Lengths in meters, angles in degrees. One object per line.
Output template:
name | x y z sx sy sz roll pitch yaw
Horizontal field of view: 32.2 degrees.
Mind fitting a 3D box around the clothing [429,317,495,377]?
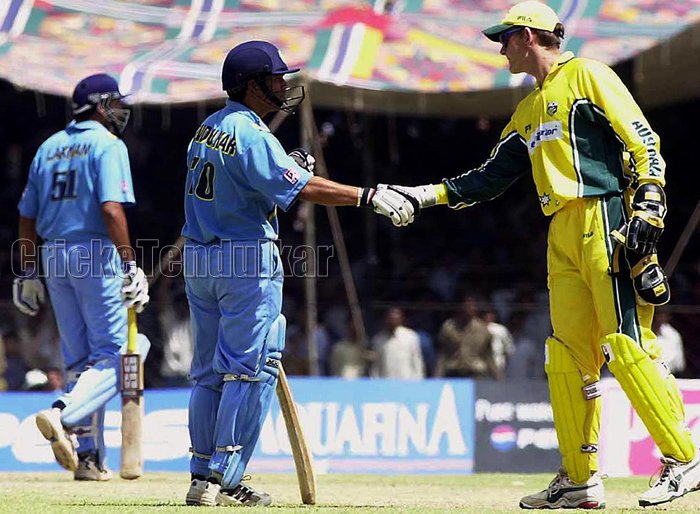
clothing | 1.034 0.829 11.136 0.562 0.648 0.384 -1 26 -5

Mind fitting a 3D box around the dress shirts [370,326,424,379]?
dress shirts | 0.430 0.864 10.749 0.447 0.428 0.252 -3 -20 7

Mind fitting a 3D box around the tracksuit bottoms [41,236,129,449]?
tracksuit bottoms | -2.014 0.653 9.193 0.733 1.828 0.593 2 -15 -32

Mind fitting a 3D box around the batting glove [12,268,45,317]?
batting glove | -2.434 0.267 9.424 0.273 0.340 0.195 7 15 24

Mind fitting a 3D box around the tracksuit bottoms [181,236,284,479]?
tracksuit bottoms | -0.771 0.701 8.138 0.644 1.673 0.739 8 -13 -42

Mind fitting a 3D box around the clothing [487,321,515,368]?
clothing | 1.383 0.802 11.150 0.313 0.372 0.140 -19 0 -40

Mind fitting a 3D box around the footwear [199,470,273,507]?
footwear | -0.779 1.538 7.997 0.564 0.215 0.177 3 -4 -21

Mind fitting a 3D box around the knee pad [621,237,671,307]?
knee pad | 1.902 0.113 7.864 0.252 0.383 0.173 -22 -3 -11

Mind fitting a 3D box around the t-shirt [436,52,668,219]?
t-shirt | 1.400 -0.767 8.349 0.799 1.189 1.951 -7 -1 -39

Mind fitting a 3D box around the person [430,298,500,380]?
person | 1.023 0.710 11.168 0.676 0.860 0.502 5 39 7

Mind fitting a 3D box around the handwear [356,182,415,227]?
handwear | 0.210 -0.302 8.193 0.327 0.128 0.305 22 23 -14
